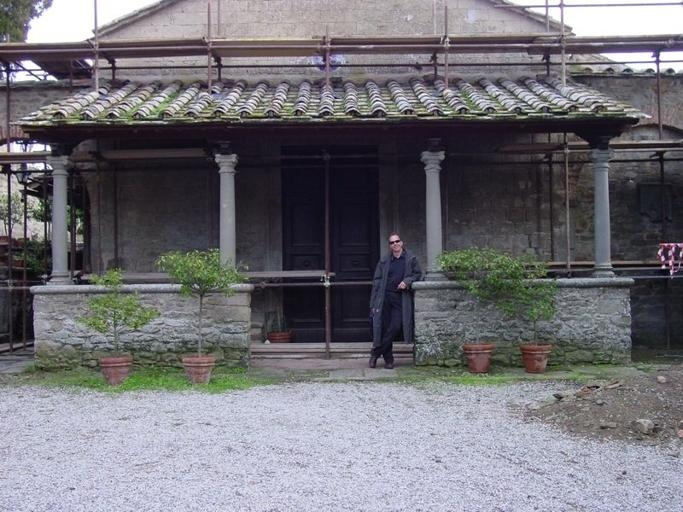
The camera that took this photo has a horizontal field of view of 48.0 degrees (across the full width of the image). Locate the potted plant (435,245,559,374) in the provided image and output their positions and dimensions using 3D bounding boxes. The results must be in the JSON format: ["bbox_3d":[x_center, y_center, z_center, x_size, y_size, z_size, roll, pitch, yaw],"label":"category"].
[{"bbox_3d":[2.471,0.798,11.789,1.562,1.786,0.712,3,11,18],"label":"potted plant"}]

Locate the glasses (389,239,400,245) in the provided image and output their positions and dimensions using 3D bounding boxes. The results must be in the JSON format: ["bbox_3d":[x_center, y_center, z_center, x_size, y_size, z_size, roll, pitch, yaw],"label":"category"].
[{"bbox_3d":[0.820,-0.205,11.867,0.177,0.083,0.118,4,11,22],"label":"glasses"}]

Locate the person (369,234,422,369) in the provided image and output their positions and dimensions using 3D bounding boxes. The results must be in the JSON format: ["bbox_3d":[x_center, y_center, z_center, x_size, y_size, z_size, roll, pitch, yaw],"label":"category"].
[{"bbox_3d":[0.818,0.725,11.885,0.765,2.061,0.583,1,10,8],"label":"person"}]

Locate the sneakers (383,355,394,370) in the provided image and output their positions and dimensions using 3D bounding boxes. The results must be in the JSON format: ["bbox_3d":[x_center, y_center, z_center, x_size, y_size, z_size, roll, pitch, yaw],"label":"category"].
[{"bbox_3d":[0.731,1.658,11.899,0.164,0.194,0.473,-1,-7,2],"label":"sneakers"}]

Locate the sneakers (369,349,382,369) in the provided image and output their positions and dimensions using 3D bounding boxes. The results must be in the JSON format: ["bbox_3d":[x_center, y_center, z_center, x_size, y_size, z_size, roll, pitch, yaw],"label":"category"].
[{"bbox_3d":[0.496,1.596,11.926,0.124,0.350,0.253,3,2,-17],"label":"sneakers"}]
